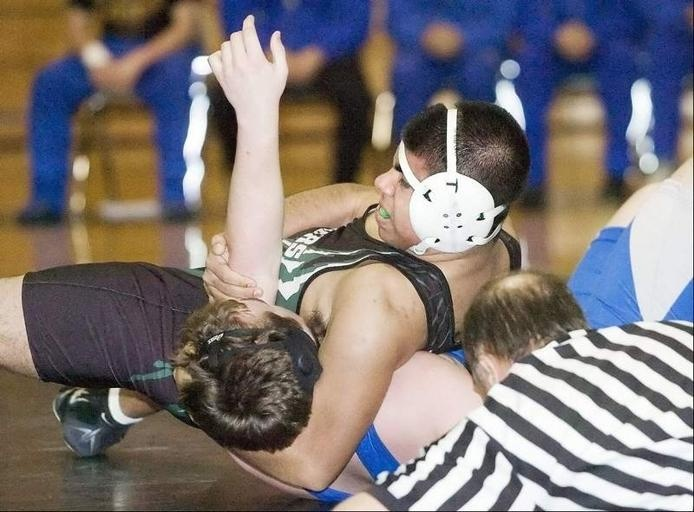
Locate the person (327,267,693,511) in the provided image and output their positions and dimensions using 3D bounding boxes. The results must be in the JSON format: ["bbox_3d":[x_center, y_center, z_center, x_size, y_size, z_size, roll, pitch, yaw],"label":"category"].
[{"bbox_3d":[0.624,0.408,2.561,0.827,0.297,0.575,-9,51,23],"label":"person"}]
